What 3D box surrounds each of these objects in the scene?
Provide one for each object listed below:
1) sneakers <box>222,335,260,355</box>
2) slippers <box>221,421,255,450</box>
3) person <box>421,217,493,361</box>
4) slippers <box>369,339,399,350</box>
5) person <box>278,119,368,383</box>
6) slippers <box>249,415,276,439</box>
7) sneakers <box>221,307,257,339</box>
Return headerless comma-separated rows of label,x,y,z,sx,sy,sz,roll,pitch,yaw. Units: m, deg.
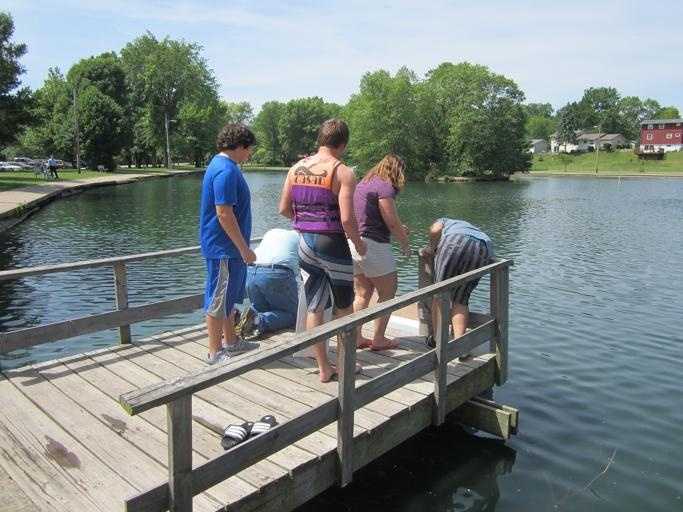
sneakers,-1.080,0.975,6.523,0.450,0.203,0.164,-8,13,-38
slippers,-0.885,1.552,5.176,0.122,0.082,0.336,4,4,16
person,1.361,0.422,7.060,0.828,1.572,1.299,2,15,10
slippers,0.484,1.030,7.005,0.270,0.100,0.140,-8,8,-40
person,-0.134,-0.338,6.132,0.749,2.061,0.701,-4,15,-11
slippers,-0.687,1.481,5.217,0.111,0.120,0.309,-4,-4,14
sneakers,-1.176,0.806,7.320,0.202,0.459,0.200,1,7,11
